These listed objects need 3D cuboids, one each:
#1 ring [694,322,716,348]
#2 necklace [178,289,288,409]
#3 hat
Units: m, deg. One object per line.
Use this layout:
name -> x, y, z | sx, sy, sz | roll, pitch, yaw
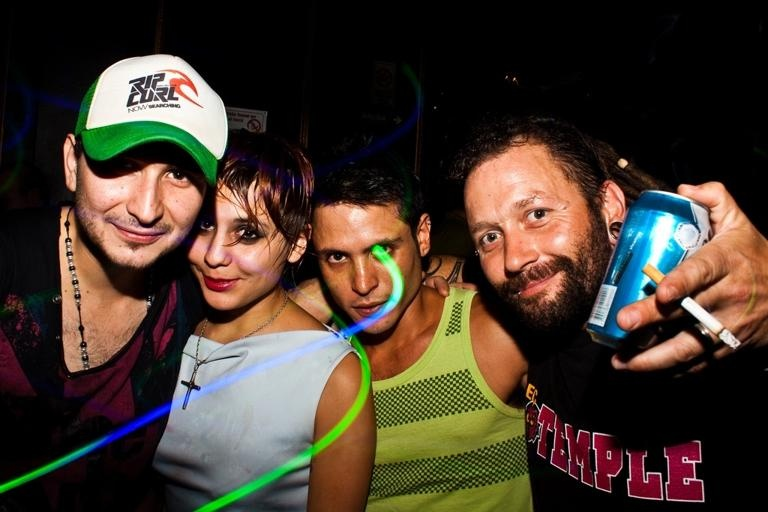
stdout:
ring -> 1.390, 0.338, 2.545 | 0.108, 0.026, 0.107 | 43, -7, 7
necklace -> -0.946, 0.606, 3.501 | 0.420, 0.718, 0.056 | 30, -21, 14
hat -> -1.251, -0.717, 3.160 | 0.635, 0.431, 0.769 | 13, 18, -44
